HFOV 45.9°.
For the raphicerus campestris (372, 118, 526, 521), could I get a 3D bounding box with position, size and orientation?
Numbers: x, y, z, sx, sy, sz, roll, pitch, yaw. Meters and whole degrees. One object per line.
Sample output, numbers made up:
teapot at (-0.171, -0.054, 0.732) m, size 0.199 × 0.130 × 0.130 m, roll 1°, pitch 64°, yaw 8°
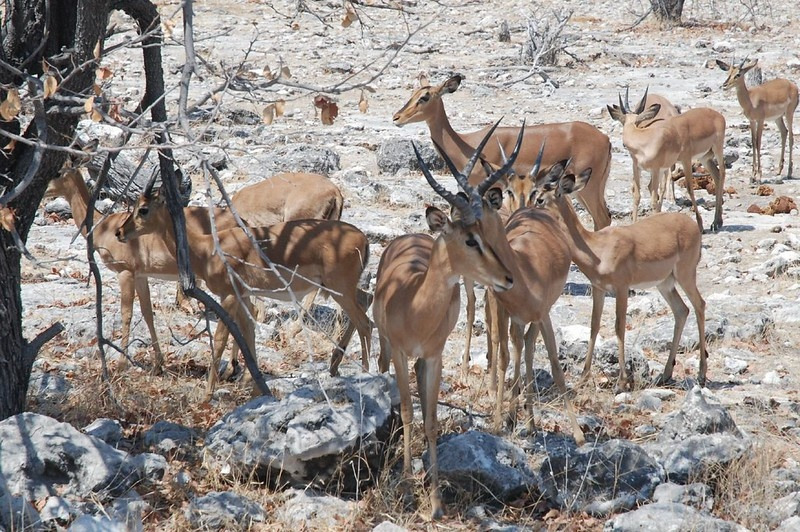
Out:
raphicerus campestris at (0.315, 0.614, 9.104) m, size 0.868 × 3.518 × 1.704 m, roll 0°, pitch 4°, yaw -21°
